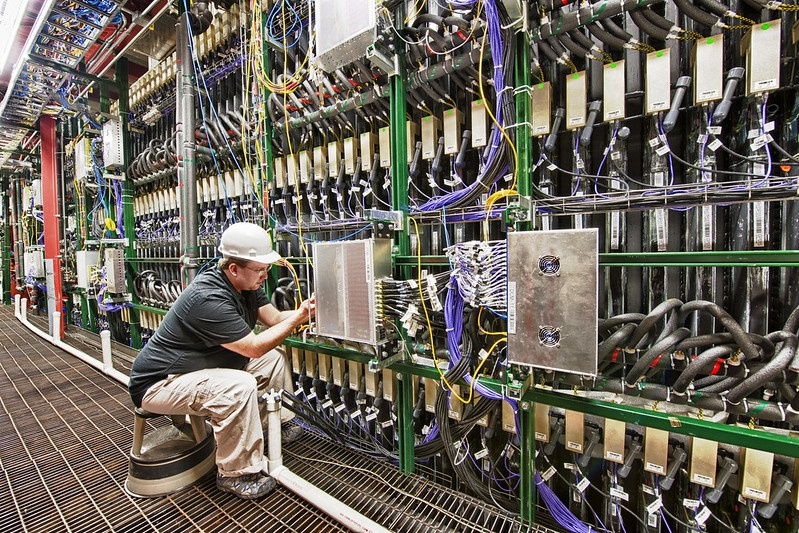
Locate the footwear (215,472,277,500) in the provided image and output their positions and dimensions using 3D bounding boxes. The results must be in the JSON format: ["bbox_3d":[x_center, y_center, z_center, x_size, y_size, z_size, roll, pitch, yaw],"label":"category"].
[{"bbox_3d":[-1.109,1.543,4.675,0.384,0.281,0.178,0,7,3],"label":"footwear"}]

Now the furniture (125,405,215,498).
[{"bbox_3d":[-1.666,1.364,4.789,0.630,0.646,0.583,-6,10,-39],"label":"furniture"}]

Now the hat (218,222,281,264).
[{"bbox_3d":[-1.107,-0.211,4.713,0.471,0.267,0.348,10,16,21],"label":"hat"}]

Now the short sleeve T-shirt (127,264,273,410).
[{"bbox_3d":[-1.439,0.403,5.074,1.024,1.127,0.841,10,13,-13],"label":"short sleeve T-shirt"}]

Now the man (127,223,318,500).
[{"bbox_3d":[-1.270,0.615,4.902,1.343,1.868,1.274,-2,9,-36],"label":"man"}]
